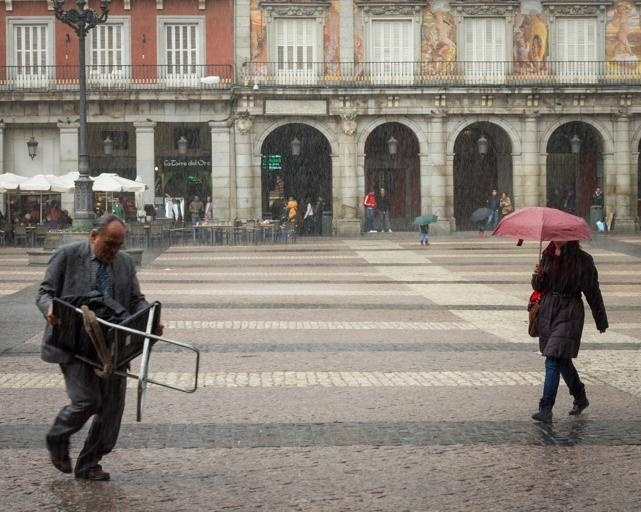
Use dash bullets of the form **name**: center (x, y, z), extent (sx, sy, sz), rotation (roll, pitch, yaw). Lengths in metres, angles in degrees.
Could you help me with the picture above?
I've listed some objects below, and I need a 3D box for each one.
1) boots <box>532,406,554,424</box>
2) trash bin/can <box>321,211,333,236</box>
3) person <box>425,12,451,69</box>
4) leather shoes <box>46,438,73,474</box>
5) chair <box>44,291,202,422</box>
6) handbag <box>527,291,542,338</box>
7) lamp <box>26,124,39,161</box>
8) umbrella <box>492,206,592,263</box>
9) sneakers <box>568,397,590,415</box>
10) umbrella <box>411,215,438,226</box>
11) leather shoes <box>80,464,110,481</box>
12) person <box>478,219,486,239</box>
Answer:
- **boots**: center (2.887, 2.081, 16.308), extent (0.287, 0.249, 0.147), rotation (12, 3, 34)
- **trash bin/can**: center (0.278, -1.161, 45.486), extent (0.448, 0.854, 0.360), rotation (3, 8, 14)
- **person**: center (4.390, -7.965, 45.395), extent (1.029, 1.808, 0.451), rotation (1, 8, 0)
- **leather shoes**: center (-3.086, 2.356, 14.887), extent (0.194, 0.511, 0.234), rotation (-25, 7, -38)
- **chair**: center (-2.409, 1.052, 14.561), extent (1.847, 1.279, 0.611), rotation (14, 49, 10)
- **handbag**: center (2.855, 0.775, 16.768), extent (0.190, 0.477, 0.379), rotation (0, 4, 12)
- **lamp**: center (-10.441, -4.069, 45.720), extent (0.404, 1.151, 0.975), rotation (-1, 8, -12)
- **umbrella**: center (3.054, -0.332, 17.127), extent (1.305, 0.794, 1.298), rotation (-6, 16, -14)
- **sneakers**: center (3.438, 2.007, 16.654), extent (0.211, 0.064, 0.205), rotation (-13, -18, -8)
- **umbrella**: center (3.215, -1.085, 37.211), extent (0.550, 0.241, 0.542), rotation (-14, 10, -41)
- **leather shoes**: center (-2.666, 2.583, 14.895), extent (0.357, 0.148, 0.165), rotation (-1, -1, 5)
- **person**: center (5.847, -0.964, 45.297), extent (0.284, 0.718, 0.541), rotation (2, 6, -3)
